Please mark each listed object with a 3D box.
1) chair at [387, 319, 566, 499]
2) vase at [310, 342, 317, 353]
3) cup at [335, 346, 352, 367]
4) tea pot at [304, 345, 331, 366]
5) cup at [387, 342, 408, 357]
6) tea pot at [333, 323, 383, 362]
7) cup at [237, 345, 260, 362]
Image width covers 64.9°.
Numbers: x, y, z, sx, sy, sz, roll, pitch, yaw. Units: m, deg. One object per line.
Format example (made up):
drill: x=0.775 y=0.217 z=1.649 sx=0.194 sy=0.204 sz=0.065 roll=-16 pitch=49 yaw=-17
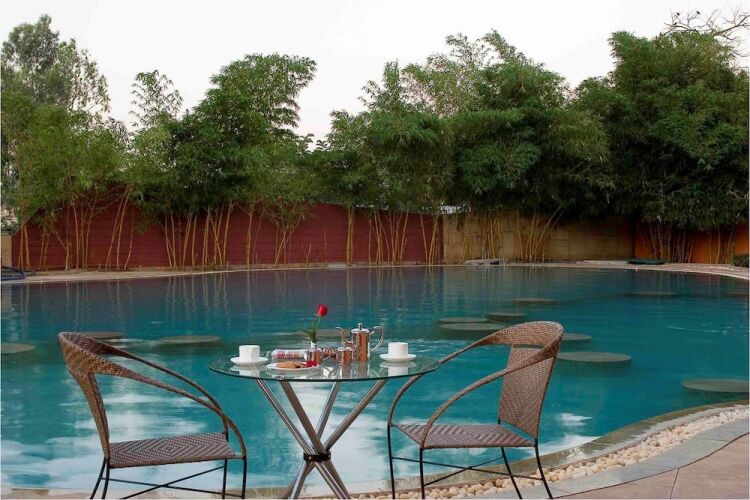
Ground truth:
chair: x=0.599 y=0.934 z=3.481 sx=1.086 sy=1.256 sz=1.064 roll=2 pitch=-1 yaw=-6
vase: x=-0.327 y=0.523 z=3.082 sx=0.044 sy=0.043 sz=0.041 roll=0 pitch=-4 yaw=-8
cup: x=-0.164 y=0.564 z=3.093 sx=0.082 sy=0.079 sz=0.095 roll=0 pitch=-4 yaw=-6
tea pot: x=-0.308 y=0.572 z=3.121 sx=0.087 sy=0.103 sz=0.132 roll=-2 pitch=-5 yaw=38
cup: x=0.122 y=0.552 z=3.201 sx=0.096 sy=0.062 sz=0.091 roll=-1 pitch=5 yaw=0
tea pot: x=-0.088 y=0.505 z=3.197 sx=0.268 sy=0.181 sz=0.121 roll=1 pitch=-1 yaw=-8
cup: x=-0.676 y=0.556 z=3.145 sx=0.093 sy=0.075 sz=0.110 roll=-2 pitch=-5 yaw=-3
